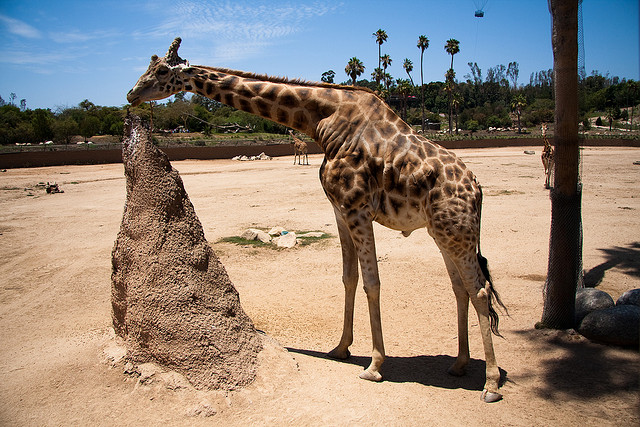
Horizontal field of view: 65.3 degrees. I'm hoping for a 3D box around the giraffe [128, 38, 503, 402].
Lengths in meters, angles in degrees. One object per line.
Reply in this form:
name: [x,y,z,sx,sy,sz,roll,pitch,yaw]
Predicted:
giraffe: [0.059,0.199,8.551,6.323,5.254,1.826,4,8,1]
